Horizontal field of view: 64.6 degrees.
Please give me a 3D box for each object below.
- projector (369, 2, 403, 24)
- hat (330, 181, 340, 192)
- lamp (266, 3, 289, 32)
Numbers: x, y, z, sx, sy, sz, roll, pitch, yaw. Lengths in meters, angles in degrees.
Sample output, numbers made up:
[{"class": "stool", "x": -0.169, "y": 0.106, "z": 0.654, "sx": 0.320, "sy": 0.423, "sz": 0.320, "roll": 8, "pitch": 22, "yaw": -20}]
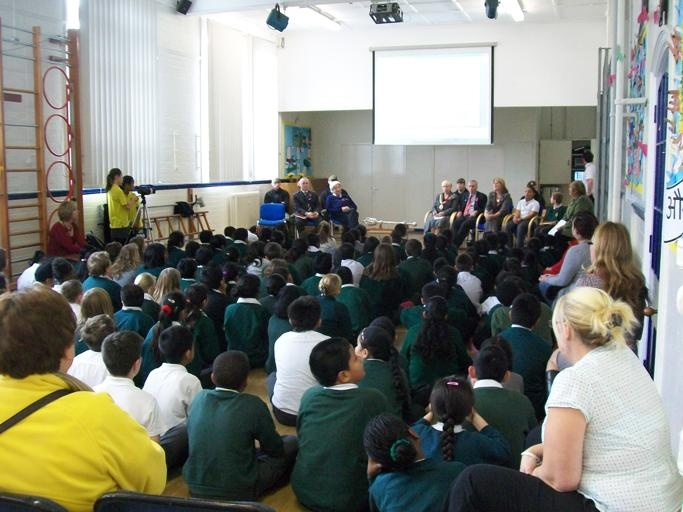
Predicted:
[{"class": "projector", "x": 0.722, "y": -3.948, "z": 8.739, "sx": 0.457, "sy": 0.359, "sz": 0.445, "roll": -1, "pitch": 9, "yaw": 12}, {"class": "hat", "x": -0.122, "y": -1.410, "z": 10.898, "sx": 0.200, "sy": 0.202, "sz": 0.162, "roll": -11, "pitch": 14, "yaw": 12}, {"class": "lamp", "x": -1.039, "y": -3.930, "z": 8.924, "sx": 0.210, "sy": 0.373, "sz": 0.376, "roll": 2, "pitch": 10, "yaw": 27}]
